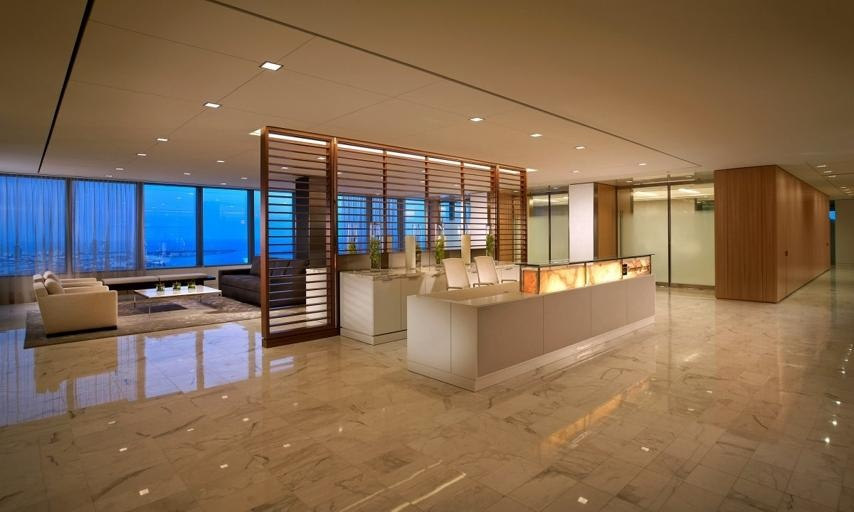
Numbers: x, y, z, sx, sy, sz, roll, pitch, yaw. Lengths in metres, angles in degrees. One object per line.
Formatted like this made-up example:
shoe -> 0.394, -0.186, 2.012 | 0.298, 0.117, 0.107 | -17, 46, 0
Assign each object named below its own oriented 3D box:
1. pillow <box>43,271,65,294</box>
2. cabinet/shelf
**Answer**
pillow -> -7.612, 0.552, 9.855 | 0.249, 0.163, 1.078 | 13, -5, -40
cabinet/shelf -> 2.184, 1.026, 8.259 | 5.160, 1.462, 1.220 | -4, 5, -33
